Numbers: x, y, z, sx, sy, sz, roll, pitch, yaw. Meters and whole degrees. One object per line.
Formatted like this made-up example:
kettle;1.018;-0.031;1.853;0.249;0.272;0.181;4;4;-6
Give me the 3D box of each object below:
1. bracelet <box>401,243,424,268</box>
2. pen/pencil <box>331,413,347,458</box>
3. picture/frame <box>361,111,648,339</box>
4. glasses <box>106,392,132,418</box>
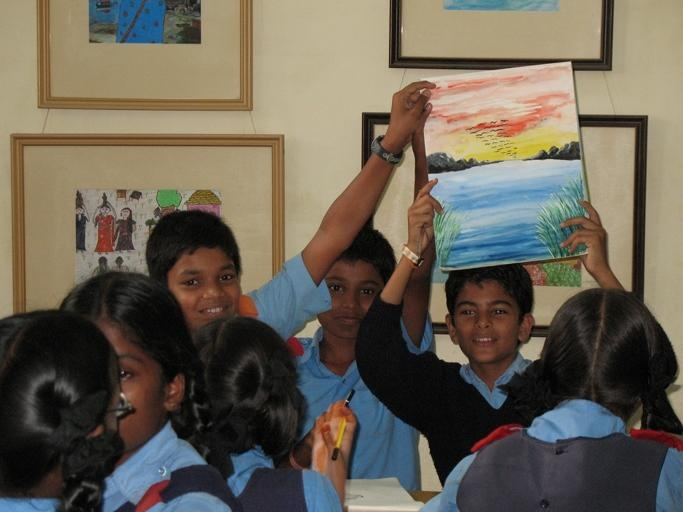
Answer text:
bracelet;0.168;0.001;1.849;0.049;0.024;0.055;44;0;39
pen/pencil;-0.004;0.364;1.527;0.020;0.095;0.022;36;-44;-20
picture/frame;0.426;-0.082;1.914;0.603;0.499;0.028;-1;-5;1
glasses;-0.394;0.270;1.335;0.036;0.040;0.016;4;2;27
